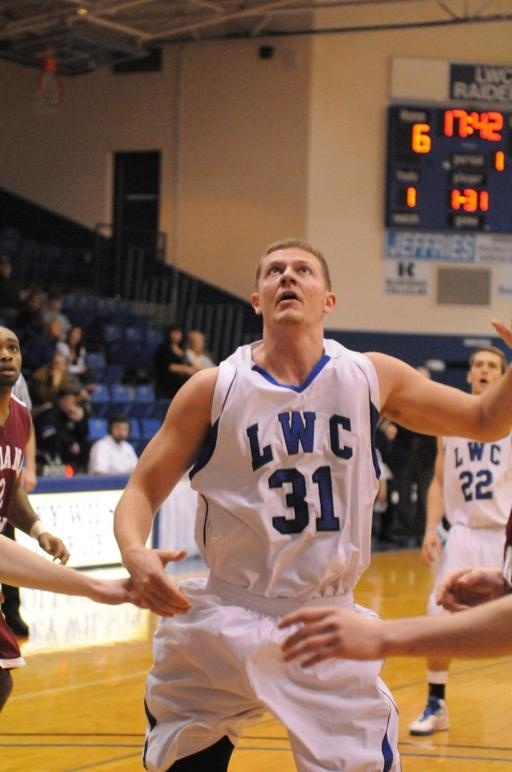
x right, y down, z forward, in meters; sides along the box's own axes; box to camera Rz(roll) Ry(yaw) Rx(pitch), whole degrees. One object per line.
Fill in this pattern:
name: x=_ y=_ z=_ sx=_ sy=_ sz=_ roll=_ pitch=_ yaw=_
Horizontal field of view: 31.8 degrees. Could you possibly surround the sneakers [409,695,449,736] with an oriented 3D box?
sneakers: x=0.677 y=1.316 z=3.581 sx=0.225 sy=0.143 sz=0.075 roll=-1 pitch=-2 yaw=-39
